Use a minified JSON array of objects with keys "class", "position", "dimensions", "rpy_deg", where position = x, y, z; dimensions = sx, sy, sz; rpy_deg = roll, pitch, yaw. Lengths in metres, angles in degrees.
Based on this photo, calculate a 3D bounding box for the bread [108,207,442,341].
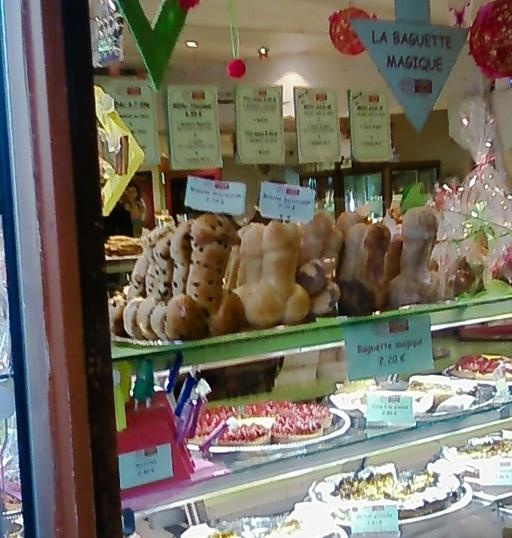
[{"class":"bread","position":[0.051,-0.007,1.120],"dimensions":[0.629,0.209,0.176],"rpy_deg":[-7,5,-21]}]
